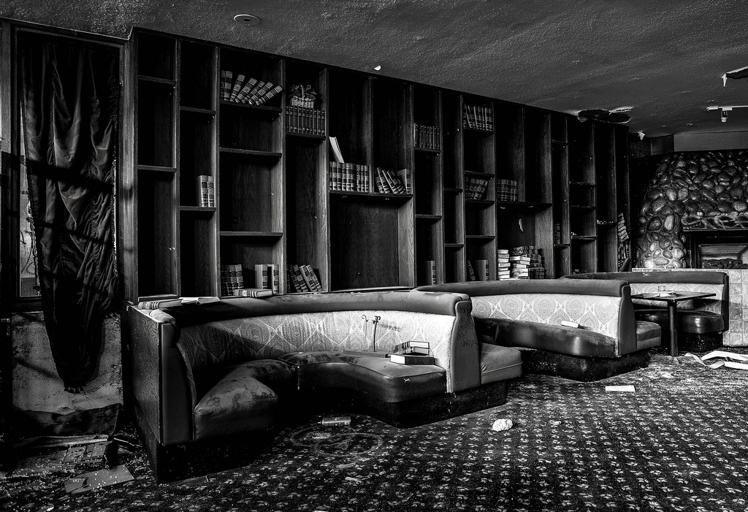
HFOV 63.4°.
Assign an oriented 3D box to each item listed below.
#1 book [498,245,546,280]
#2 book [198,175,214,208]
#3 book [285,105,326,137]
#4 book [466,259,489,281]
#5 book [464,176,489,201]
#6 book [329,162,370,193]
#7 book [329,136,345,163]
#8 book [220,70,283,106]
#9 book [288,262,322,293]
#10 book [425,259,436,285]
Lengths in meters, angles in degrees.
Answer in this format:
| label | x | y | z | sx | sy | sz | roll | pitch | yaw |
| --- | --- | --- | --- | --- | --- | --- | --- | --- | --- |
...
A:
| label | x | y | z | sx | sy | sz | roll | pitch | yaw |
| --- | --- | --- | --- | --- | --- | --- | --- | --- | --- |
| book | 2.119 | 0.093 | 8.682 | 0.805 | 0.446 | 0.779 | 0 | -4 | -7 |
| book | -1.814 | -0.701 | 6.538 | 0.188 | 0.333 | 0.144 | -5 | 15 | -14 |
| book | -0.822 | -1.565 | 7.079 | 0.555 | 0.403 | 0.298 | 0 | 8 | -25 |
| book | 1.409 | 0.197 | 8.457 | 0.294 | 0.399 | 0.294 | -1 | -1 | -44 |
| book | 1.388 | -0.928 | 8.330 | 0.356 | 0.339 | 0.087 | 5 | -2 | -29 |
| book | -0.304 | -0.956 | 7.260 | 0.562 | 0.367 | 0.138 | -8 | 16 | -25 |
| book | -0.479 | -1.318 | 7.303 | 0.073 | 0.312 | 0.311 | -18 | -19 | -4 |
| book | -1.420 | -1.868 | 6.784 | 0.507 | 0.192 | 0.487 | -1 | 1 | -35 |
| book | -0.829 | 0.263 | 7.076 | 0.110 | 0.329 | 0.331 | -31 | -9 | 31 |
| book | 0.732 | 0.214 | 7.970 | 0.156 | 0.460 | 0.318 | 0 | 1 | -6 |
